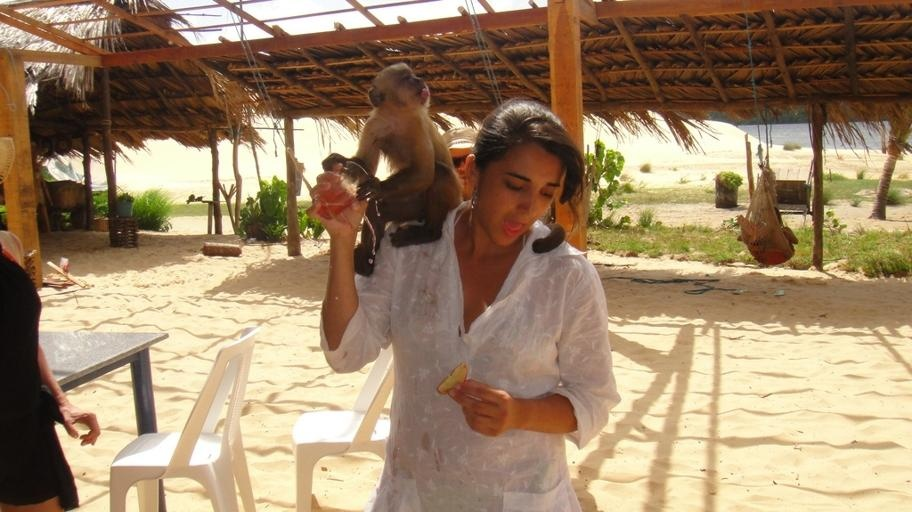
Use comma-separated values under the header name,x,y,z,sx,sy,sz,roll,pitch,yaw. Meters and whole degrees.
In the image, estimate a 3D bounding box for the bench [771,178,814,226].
name,x,y,z,sx,sy,sz,roll,pitch,yaw
bench,8.370,-1.337,17.157,1.122,1.058,1.629,4,11,27

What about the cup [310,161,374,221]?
name,x,y,z,sx,sy,sz,roll,pitch,yaw
cup,-0.941,-0.559,5.795,0.433,0.504,0.423,0,4,0

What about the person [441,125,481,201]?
name,x,y,z,sx,sy,sz,roll,pitch,yaw
person,0.026,-1.027,6.844,0.495,1.008,0.513,1,1,8

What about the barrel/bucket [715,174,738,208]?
name,x,y,z,sx,sy,sz,roll,pitch,yaw
barrel/bucket,8.816,-2.132,22.426,0.719,1.211,1.044,2,4,20

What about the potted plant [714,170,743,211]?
name,x,y,z,sx,sy,sz,roll,pitch,yaw
potted plant,8.841,-2.123,22.709,0.923,1.045,0.780,-3,-3,29

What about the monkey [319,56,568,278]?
name,x,y,z,sx,sy,sz,roll,pitch,yaw
monkey,-0.506,-0.863,6.388,1.311,2.629,2.800,5,1,21
